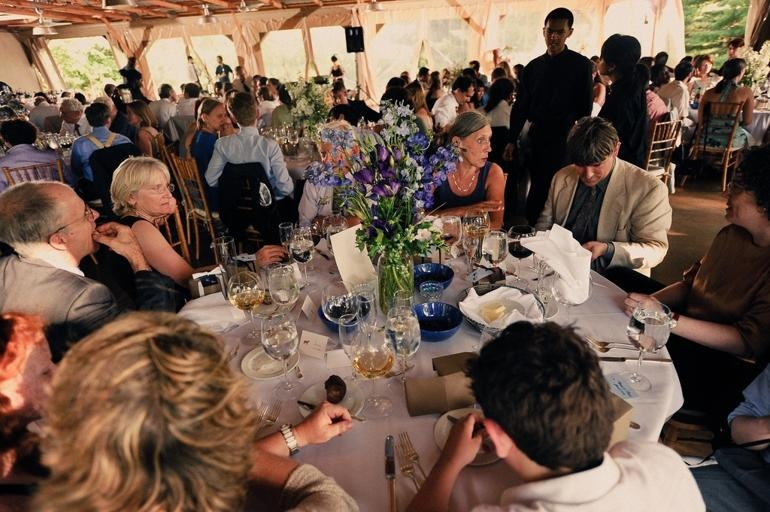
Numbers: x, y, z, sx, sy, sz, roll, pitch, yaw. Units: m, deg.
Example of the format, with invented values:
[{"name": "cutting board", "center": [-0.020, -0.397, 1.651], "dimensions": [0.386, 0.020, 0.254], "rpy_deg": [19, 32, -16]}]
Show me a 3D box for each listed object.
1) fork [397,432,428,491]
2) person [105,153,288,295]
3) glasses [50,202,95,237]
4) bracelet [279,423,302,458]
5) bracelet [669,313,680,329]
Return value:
[{"name": "fork", "center": [0.096, 0.782, 1.941], "dimensions": [0.057, 0.035, 0.242], "rpy_deg": [-10, 52, -11]}, {"name": "person", "center": [-1.387, -0.333, 3.741], "dimensions": [0.962, 1.504, 0.850], "rpy_deg": [-11, 23, -25]}, {"name": "glasses", "center": [-1.552, -0.186, 2.559], "dimensions": [0.140, 0.043, 0.132], "rpy_deg": [-31, 12, -17]}, {"name": "bracelet", "center": [-0.366, 0.711, 1.980], "dimensions": [0.090, 0.097, 0.098], "rpy_deg": [-22, -13, 1]}, {"name": "bracelet", "center": [1.348, 0.308, 2.393], "dimensions": [0.057, 0.075, 0.038], "rpy_deg": [18, -20, -27]}]
